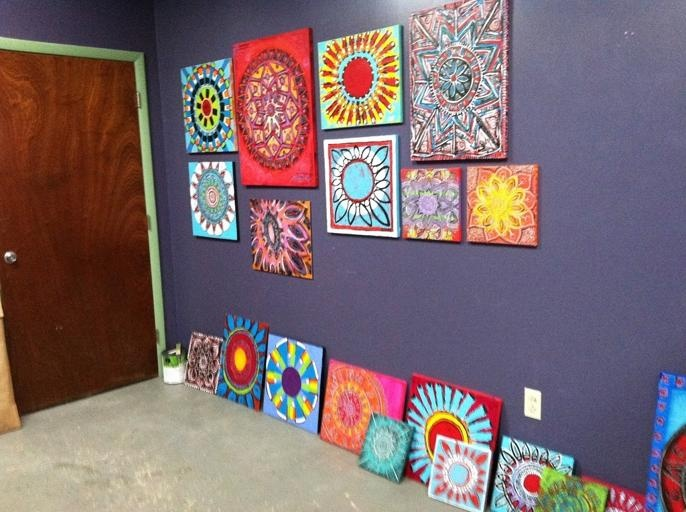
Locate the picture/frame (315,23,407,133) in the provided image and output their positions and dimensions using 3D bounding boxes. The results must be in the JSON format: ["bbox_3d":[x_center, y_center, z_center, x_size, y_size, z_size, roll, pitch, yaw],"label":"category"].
[{"bbox_3d":[0.119,-0.988,2.701,0.567,0.608,0.041,7,14,40],"label":"picture/frame"}]

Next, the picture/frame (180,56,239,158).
[{"bbox_3d":[-0.930,-1.073,3.470,0.637,0.730,0.030,9,15,42],"label":"picture/frame"}]

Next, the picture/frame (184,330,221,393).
[{"bbox_3d":[-1.076,0.830,3.786,0.386,0.439,0.026,4,1,41],"label":"picture/frame"}]

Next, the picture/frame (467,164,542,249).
[{"bbox_3d":[0.786,-0.244,2.340,0.338,0.446,0.040,6,9,41],"label":"picture/frame"}]

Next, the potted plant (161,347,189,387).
[{"bbox_3d":[-1.359,0.875,3.875,0.170,0.314,0.286,-2,6,-27],"label":"potted plant"}]

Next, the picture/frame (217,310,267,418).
[{"bbox_3d":[-0.708,0.785,3.504,0.593,0.788,0.069,4,0,43],"label":"picture/frame"}]

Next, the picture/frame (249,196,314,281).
[{"bbox_3d":[-0.448,-0.138,3.255,0.007,0.505,0.518,-5,-3,39],"label":"picture/frame"}]

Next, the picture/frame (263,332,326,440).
[{"bbox_3d":[-0.298,0.858,3.199,0.553,0.667,0.061,3,2,43],"label":"picture/frame"}]

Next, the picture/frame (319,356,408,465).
[{"bbox_3d":[0.141,0.916,2.873,0.521,0.518,0.053,4,0,45],"label":"picture/frame"}]

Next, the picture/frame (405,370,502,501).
[{"bbox_3d":[0.597,0.952,2.558,0.537,0.688,0.061,6,-2,40],"label":"picture/frame"}]

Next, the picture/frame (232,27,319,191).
[{"bbox_3d":[-0.408,-0.956,3.097,0.880,1.329,0.086,7,13,41],"label":"picture/frame"}]

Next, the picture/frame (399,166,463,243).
[{"bbox_3d":[0.474,-0.274,2.552,0.350,0.399,0.036,5,8,43],"label":"picture/frame"}]

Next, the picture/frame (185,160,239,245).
[{"bbox_3d":[-0.945,-0.407,3.595,0.529,0.606,0.023,9,16,41],"label":"picture/frame"}]
